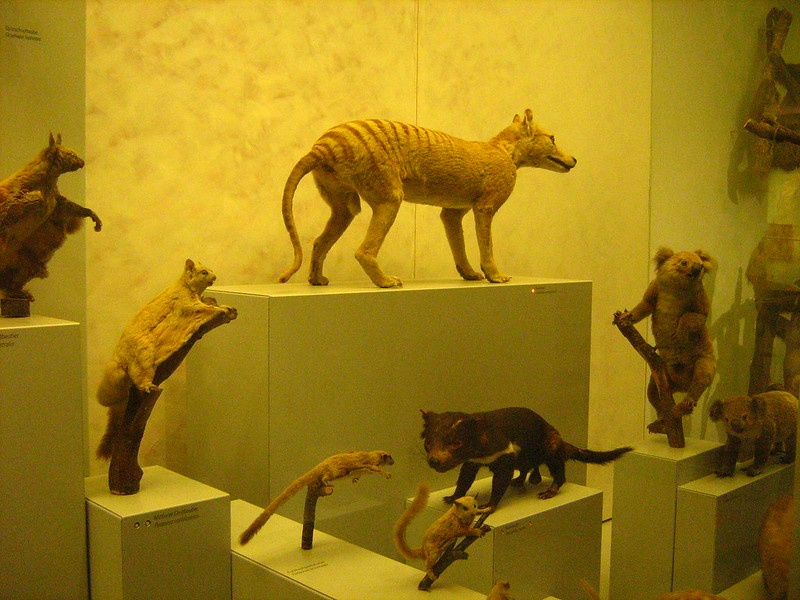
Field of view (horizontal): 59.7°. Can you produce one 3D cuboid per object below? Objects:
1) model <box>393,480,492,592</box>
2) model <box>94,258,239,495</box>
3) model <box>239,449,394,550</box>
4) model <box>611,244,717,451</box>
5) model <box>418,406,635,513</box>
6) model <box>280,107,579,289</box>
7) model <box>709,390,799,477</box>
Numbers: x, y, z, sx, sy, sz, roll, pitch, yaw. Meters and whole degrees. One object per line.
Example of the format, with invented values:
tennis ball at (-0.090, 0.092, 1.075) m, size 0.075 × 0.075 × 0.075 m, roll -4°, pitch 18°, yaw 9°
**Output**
model at (0.121, 0.724, 2.242) m, size 0.289 × 0.321 × 0.119 m, roll -7°, pitch 0°, yaw -2°
model at (-0.843, 0.270, 2.492) m, size 0.508 × 0.832 × 0.227 m, roll 1°, pitch 2°, yaw -6°
model at (-0.274, 0.680, 2.373) m, size 0.551 × 0.369 × 0.197 m, roll 2°, pitch 2°, yaw 20°
model at (1.047, 0.177, 2.790) m, size 0.234 × 0.781 × 0.455 m, roll 1°, pitch 2°, yaw -10°
model at (0.526, 0.580, 2.925) m, size 1.102 × 0.503 × 0.329 m, roll -1°, pitch -5°, yaw -34°
model at (0.167, -0.495, 3.523) m, size 1.458 × 0.921 × 0.459 m, roll -3°, pitch 7°, yaw -20°
model at (1.236, 0.443, 2.422) m, size 0.327 × 0.247 × 0.154 m, roll -5°, pitch -1°, yaw -29°
